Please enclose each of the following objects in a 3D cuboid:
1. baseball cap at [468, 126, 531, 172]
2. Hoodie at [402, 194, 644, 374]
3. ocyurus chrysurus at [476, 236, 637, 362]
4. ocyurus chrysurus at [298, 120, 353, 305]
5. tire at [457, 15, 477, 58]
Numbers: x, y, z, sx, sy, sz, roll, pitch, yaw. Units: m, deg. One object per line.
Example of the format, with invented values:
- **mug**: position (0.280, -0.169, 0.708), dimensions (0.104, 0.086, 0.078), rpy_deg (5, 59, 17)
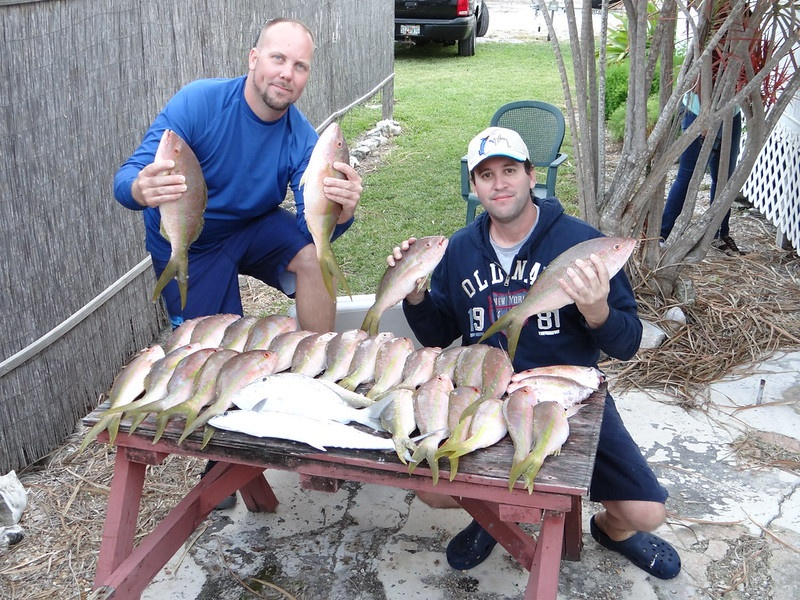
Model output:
- **baseball cap**: position (0.482, -0.730, 2.880), dimensions (0.287, 0.214, 0.224), rpy_deg (7, 21, 17)
- **Hoodie**: position (0.558, -0.032, 2.918), dimensions (0.860, 0.335, 1.048), rpy_deg (2, 32, 20)
- **ocyurus chrysurus**: position (0.709, 0.004, 2.648), dimensions (0.841, 0.285, 0.112), rpy_deg (-39, 0, 0)
- **ocyurus chrysurus**: position (-0.368, -0.393, 2.803), dimensions (0.278, 0.917, 0.193), rpy_deg (-3, 4, -10)
- **tire**: position (1.653, -6.379, 14.417), dimensions (0.670, 0.746, 0.731), rpy_deg (5, 47, 7)
